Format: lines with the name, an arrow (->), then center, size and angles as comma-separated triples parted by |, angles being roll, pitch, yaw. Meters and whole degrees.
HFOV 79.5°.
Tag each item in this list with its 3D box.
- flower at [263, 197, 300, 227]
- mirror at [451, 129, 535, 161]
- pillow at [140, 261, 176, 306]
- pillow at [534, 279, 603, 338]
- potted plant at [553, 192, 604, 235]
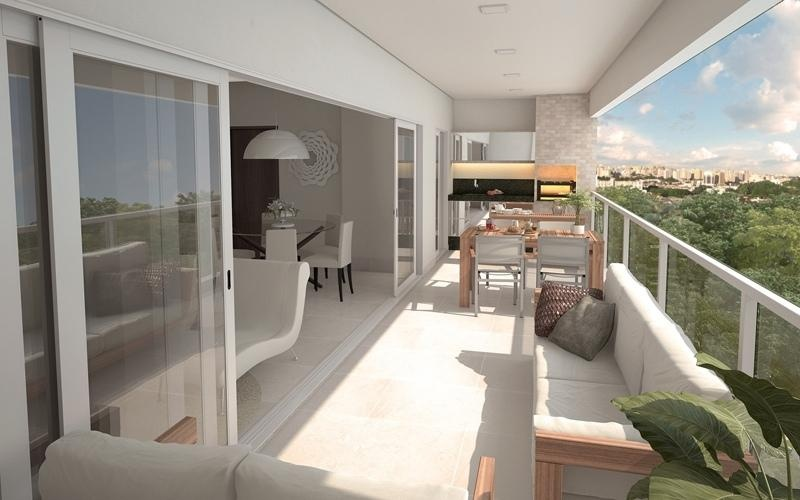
flower -> -1.765, -0.541, 7.333 | 0.539, 0.496, 0.542 | 0, 4, 33
mirror -> 2.109, -2.268, 10.548 | 1.682, 0.625, 0.775 | 6, 15, 19
pillow -> -1.394, 0.190, 2.815 | 0.195, 0.301, 0.070 | -1, 11, -39
pillow -> 1.550, 0.568, 4.443 | 0.240, 0.510, 0.505 | 26, -15, -39
potted plant -> 3.175, -0.636, 8.474 | 0.752, 0.841, 0.822 | -2, 8, -6
